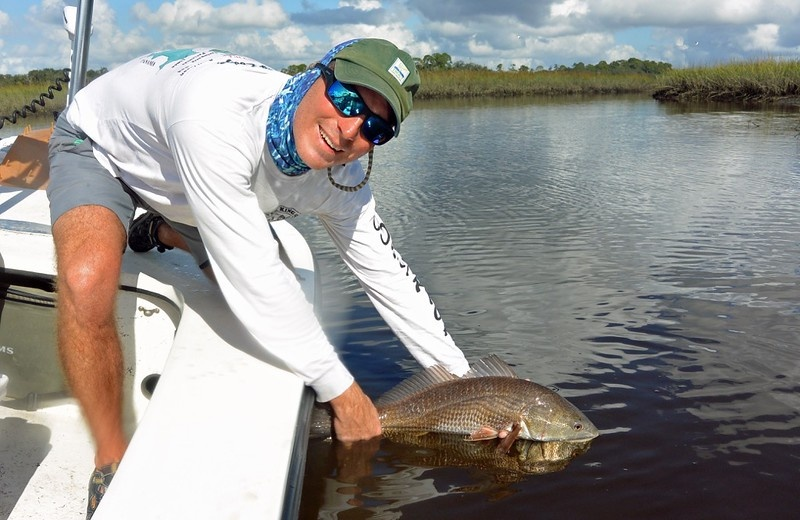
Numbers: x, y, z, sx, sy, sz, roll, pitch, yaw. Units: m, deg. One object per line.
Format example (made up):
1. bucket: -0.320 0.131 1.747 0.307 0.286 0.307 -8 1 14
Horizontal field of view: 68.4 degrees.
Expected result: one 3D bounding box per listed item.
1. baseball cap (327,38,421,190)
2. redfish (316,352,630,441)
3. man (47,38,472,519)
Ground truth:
1. baseball cap: -0.109 -0.805 2.792 0.322 0.458 0.378 9 16 32
2. redfish: 0.487 0.803 3.715 1.887 0.616 0.567 0 -7 6
3. man: -0.786 -0.037 3.099 1.991 2.098 1.176 -4 15 -15
